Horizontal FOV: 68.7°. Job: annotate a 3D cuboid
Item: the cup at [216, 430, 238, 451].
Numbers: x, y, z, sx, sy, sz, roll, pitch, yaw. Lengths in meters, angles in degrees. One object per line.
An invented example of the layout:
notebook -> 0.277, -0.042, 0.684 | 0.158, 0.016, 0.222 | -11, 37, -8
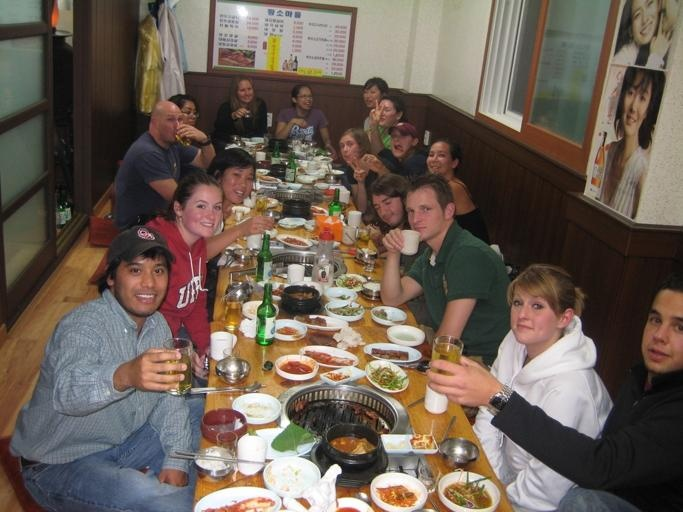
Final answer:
cup -> -0.379, 0.606, 1.664 | 0.055, 0.064, 0.056 | 4, 4, 0

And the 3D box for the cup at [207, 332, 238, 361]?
cup -> -0.514, 0.390, 2.163 | 0.098, 0.081, 0.119 | 0, 23, -5

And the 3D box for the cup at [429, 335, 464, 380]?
cup -> 0.373, 0.379, 1.893 | 0.123, 0.145, 0.143 | 3, 14, -1

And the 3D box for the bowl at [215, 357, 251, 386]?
bowl -> -0.434, 0.463, 2.016 | 0.102, 0.070, 0.113 | 4, 36, -10

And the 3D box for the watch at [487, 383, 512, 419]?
watch -> 0.536, 0.499, 1.726 | 0.053, 0.088, 0.069 | 23, 31, 40

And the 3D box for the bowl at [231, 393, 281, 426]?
bowl -> -0.303, 0.566, 1.850 | 0.153, 0.035, 0.155 | 16, 12, -3

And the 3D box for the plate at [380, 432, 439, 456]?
plate -> 0.228, 0.660, 1.761 | 0.140, 0.020, 0.085 | 1, 31, -2

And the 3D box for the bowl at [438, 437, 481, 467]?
bowl -> 0.396, 0.675, 1.735 | 0.120, 0.046, 0.129 | 1, 23, -1

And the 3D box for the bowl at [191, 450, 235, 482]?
bowl -> -0.407, 0.670, 1.617 | 0.121, 0.056, 0.098 | 4, 23, 5

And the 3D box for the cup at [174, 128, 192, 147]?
cup -> -1.297, -0.983, 4.141 | 0.089, 0.123, 0.048 | 1, 55, 40
